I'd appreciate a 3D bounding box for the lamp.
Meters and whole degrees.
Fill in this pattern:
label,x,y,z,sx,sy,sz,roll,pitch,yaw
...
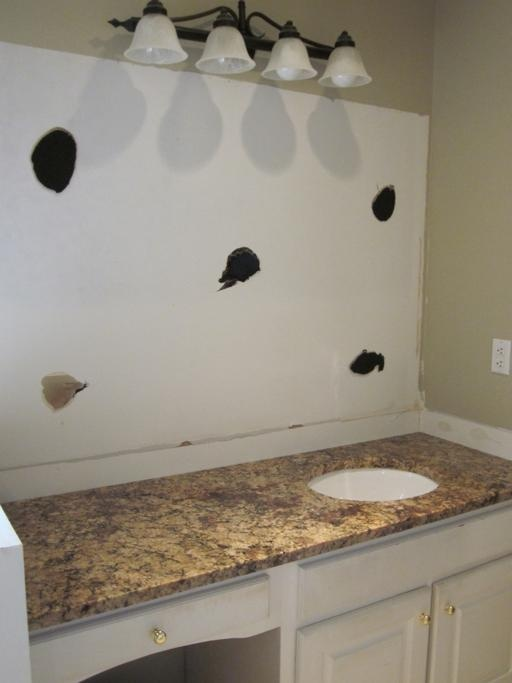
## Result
label,x,y,z,sx,sy,sz,roll,pitch,yaw
lamp,-0.072,-0.702,1.457,0.355,0.124,0.106,-6,13,-32
